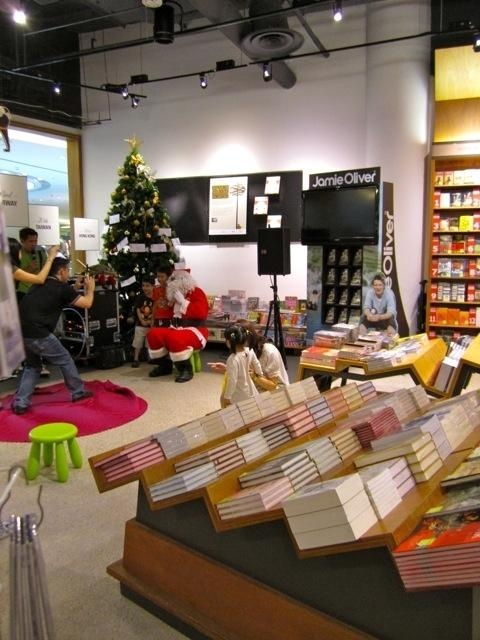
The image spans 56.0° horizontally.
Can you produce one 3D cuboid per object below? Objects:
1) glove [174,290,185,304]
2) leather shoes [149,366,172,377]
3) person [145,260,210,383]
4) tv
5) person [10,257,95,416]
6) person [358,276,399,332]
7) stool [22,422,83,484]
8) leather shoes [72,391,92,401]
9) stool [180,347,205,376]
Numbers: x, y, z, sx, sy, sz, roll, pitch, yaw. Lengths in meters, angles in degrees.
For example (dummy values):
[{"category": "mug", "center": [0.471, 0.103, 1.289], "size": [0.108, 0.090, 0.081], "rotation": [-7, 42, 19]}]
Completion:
[{"category": "glove", "center": [-0.802, -0.291, 5.970], "size": [0.140, 0.188, 0.064], "rotation": [7, 13, 33]}, {"category": "leather shoes", "center": [-1.103, 0.710, 6.181], "size": [0.299, 0.245, 0.119], "rotation": [7, -4, -25]}, {"category": "person", "center": [-0.904, 0.046, 6.144], "size": [0.739, 1.040, 0.737], "rotation": [-4, 4, 32]}, {"category": "tv", "center": [1.279, -1.310, 5.572], "size": [0.839, 0.595, 0.110], "rotation": [2, 8, 28]}, {"category": "person", "center": [-1.876, 0.127, 4.490], "size": [0.859, 1.345, 0.561], "rotation": [-8, 4, -29]}, {"category": "person", "center": [1.526, -0.099, 4.977], "size": [0.452, 0.750, 0.570], "rotation": [-1, 8, 7]}, {"category": "stool", "center": [-1.365, 0.937, 3.222], "size": [0.314, 0.361, 0.550], "rotation": [-9, 5, -36]}, {"category": "leather shoes", "center": [-1.668, 0.807, 4.760], "size": [0.076, 0.086, 0.193], "rotation": [10, 20, 32]}, {"category": "stool", "center": [-0.676, 0.576, 6.291], "size": [0.254, 0.409, 0.271], "rotation": [-2, -1, -13]}]
